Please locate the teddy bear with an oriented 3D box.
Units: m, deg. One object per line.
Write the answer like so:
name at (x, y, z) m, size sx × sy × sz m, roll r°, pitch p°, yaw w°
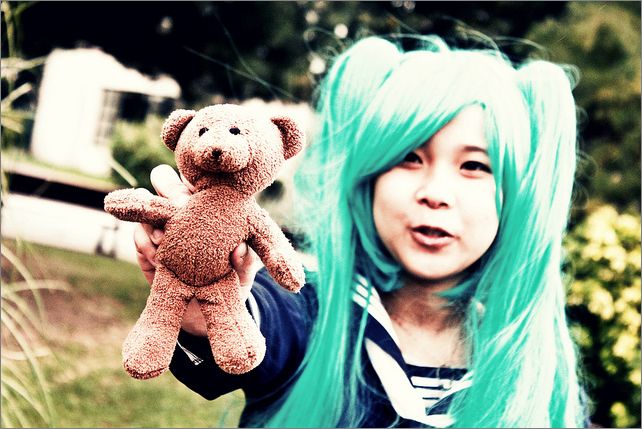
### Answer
teddy bear at (-0.482, 0.127, 2.923) m, size 0.798 × 0.860 × 0.858 m, roll 2°, pitch 44°, yaw -17°
